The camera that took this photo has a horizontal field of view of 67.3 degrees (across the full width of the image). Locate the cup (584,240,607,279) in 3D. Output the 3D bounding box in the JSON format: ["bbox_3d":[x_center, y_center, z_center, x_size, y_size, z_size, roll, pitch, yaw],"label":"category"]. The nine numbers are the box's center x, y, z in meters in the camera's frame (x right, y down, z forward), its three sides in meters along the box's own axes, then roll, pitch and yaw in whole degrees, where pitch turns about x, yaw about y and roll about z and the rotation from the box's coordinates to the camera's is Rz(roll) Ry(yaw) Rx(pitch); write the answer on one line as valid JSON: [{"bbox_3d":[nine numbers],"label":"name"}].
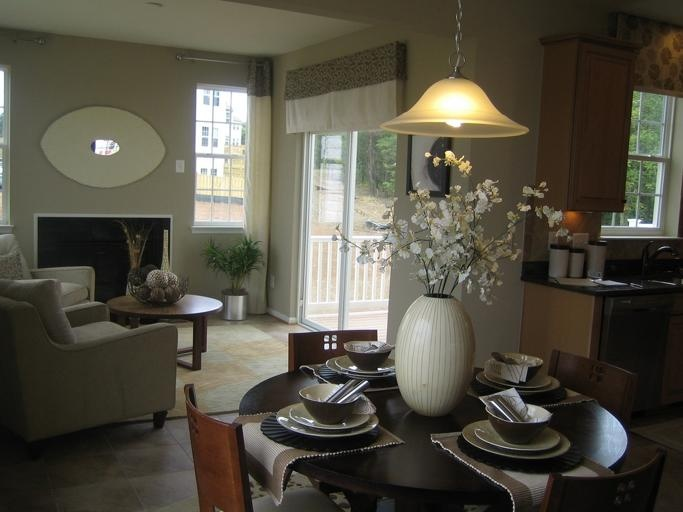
[{"bbox_3d":[2.080,0.024,4.196,0.133,0.281,0.323,4,11,25],"label":"cup"}]

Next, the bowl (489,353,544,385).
[{"bbox_3d":[0.749,0.479,2.242,0.146,0.070,0.173,0,3,-15],"label":"bowl"}]

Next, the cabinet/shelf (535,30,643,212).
[{"bbox_3d":[1.930,-1.011,4.004,0.756,1.334,0.319,-3,10,-13],"label":"cabinet/shelf"}]

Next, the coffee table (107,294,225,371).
[{"bbox_3d":[-1.509,0.581,4.604,0.789,0.466,0.797,10,11,43],"label":"coffee table"}]

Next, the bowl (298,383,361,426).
[{"bbox_3d":[-0.051,0.551,1.853,0.228,0.111,0.233,5,-1,0],"label":"bowl"}]

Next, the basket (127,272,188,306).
[{"bbox_3d":[-1.676,0.282,4.653,0.348,0.194,0.325,0,-1,-8],"label":"basket"}]

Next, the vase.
[{"bbox_3d":[0.296,0.366,1.999,0.373,0.536,0.397,1,1,1],"label":"vase"}]
